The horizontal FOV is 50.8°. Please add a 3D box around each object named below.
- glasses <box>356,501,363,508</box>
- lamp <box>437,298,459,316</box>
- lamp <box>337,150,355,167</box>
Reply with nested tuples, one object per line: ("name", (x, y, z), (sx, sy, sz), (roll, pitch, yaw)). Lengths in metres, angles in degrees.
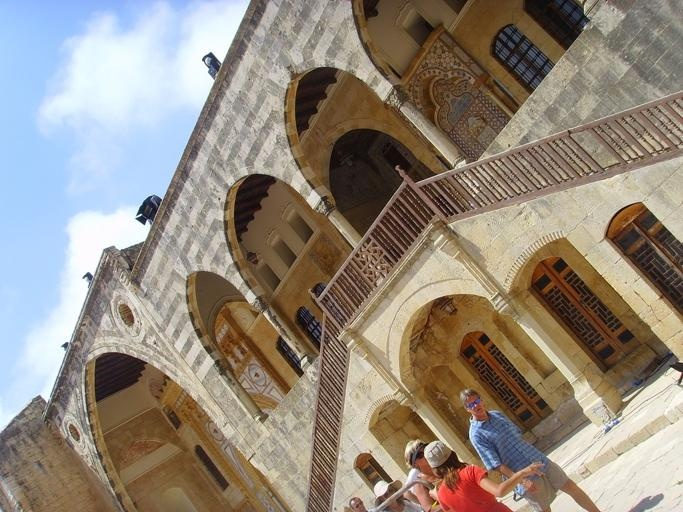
("glasses", (0.220, 3.257, 9.333), (0.055, 0.064, 0.042), (-12, -12, 1))
("lamp", (2.051, 0.999, 13.999), (0.353, 0.344, 0.149), (-56, -6, 26))
("lamp", (0.099, -2.541, 19.297), (0.595, 0.200, 0.483), (-10, -37, -44))
